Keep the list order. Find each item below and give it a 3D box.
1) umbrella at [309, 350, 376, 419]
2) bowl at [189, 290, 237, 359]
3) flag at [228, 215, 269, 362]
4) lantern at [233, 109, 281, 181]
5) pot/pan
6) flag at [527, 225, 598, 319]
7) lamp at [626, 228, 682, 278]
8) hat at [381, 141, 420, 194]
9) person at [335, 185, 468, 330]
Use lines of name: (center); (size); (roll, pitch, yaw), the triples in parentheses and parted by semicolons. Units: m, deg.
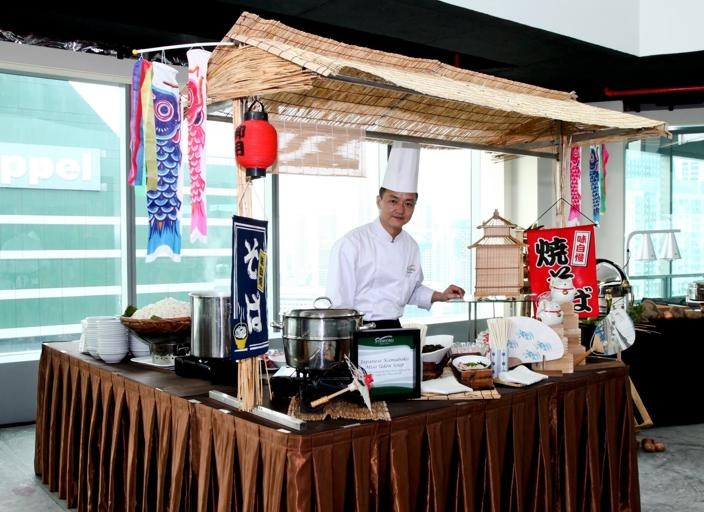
umbrella: (-0.049, 0.597, 2.837); (0.284, 0.255, 0.089); (-19, -18, -25)
bowl: (-0.729, 0.359, 3.327); (0.331, 0.315, 0.211); (0, 1, 40)
flag: (-0.456, 0.128, 2.842); (0.069, 0.639, 0.339); (0, 14, 22)
lantern: (-0.450, -0.513, 2.966); (0.196, 0.304, 0.192); (-1, -3, 39)
pot/pan: (-0.167, 0.373, 2.976); (0.373, 0.247, 0.298); (1, -6, -17)
flag: (1.308, 0.105, 4.001); (0.586, 0.781, 0.034); (-2, -2, 27)
lamp: (3.072, -0.016, 6.580); (0.225, 0.505, 0.664); (-9, 3, -29)
hat: (0.241, -0.553, 3.993); (0.274, 0.310, 0.302); (12, -1, -1)
person: (0.253, -0.018, 4.019); (1.035, 0.911, 0.509); (-1, 10, -30)
